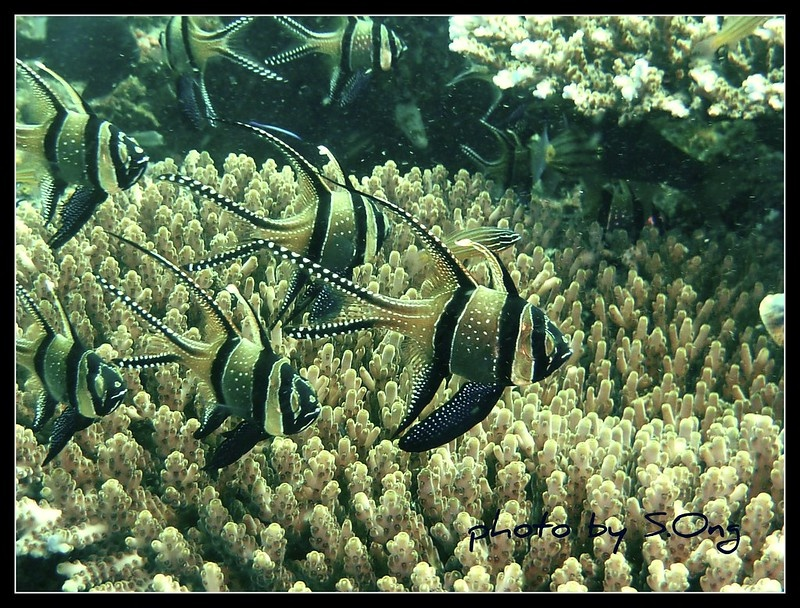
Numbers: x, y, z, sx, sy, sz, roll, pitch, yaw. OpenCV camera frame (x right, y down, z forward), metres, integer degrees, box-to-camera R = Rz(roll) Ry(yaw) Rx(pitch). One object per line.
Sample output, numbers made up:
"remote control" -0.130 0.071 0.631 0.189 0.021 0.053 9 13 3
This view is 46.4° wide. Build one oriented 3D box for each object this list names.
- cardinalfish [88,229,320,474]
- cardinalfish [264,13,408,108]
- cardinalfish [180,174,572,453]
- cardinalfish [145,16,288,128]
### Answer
"cardinalfish" -0.969 0.280 4.749 1.191 1.022 0.740 19 25 2
"cardinalfish" -0.446 -1.858 6.867 0.923 0.692 0.573 -2 28 2
"cardinalfish" -0.088 -0.135 5.037 1.232 1.811 2.015 13 17 39
"cardinalfish" -1.273 -1.537 6.110 0.608 0.644 0.281 7 3 13
